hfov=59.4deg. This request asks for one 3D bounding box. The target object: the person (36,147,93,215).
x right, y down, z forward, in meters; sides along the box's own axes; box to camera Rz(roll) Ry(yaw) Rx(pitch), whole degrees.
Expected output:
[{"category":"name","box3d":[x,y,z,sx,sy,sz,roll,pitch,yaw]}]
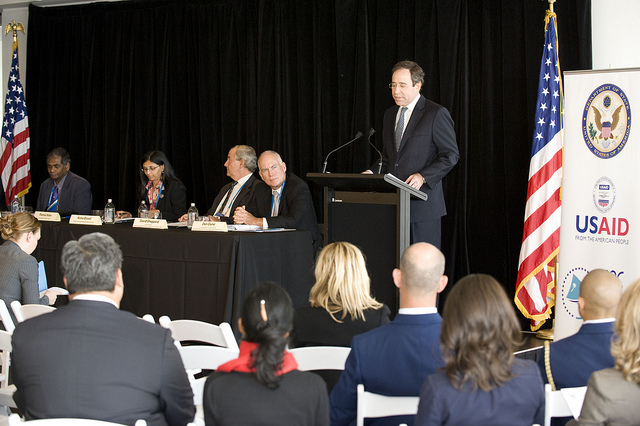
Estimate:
[{"category":"person","box3d":[-2.929,-0.362,6.477,0.758,0.747,0.341,0,1,34]}]

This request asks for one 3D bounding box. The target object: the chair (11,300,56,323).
[{"category":"chair","box3d":[-1.594,0.548,3.091,0.153,0.113,0.317,-1,1,-41]}]

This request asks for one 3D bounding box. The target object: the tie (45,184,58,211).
[{"category":"tie","box3d":[-3.055,-0.166,6.420,0.144,0.232,0.058,0,-5,26]}]

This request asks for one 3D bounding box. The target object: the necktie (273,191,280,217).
[{"category":"necktie","box3d":[-0.408,-0.089,5.200,0.079,0.221,0.040,0,1,25]}]

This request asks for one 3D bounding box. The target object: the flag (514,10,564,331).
[{"category":"flag","box3d":[1.931,-0.349,4.965,0.381,2.809,0.310,0,1,26]}]

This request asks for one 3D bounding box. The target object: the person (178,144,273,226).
[{"category":"person","box3d":[-0.952,-0.300,5.612,0.847,1.105,0.738,4,3,-18]}]

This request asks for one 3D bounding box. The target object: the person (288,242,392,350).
[{"category":"person","box3d":[0.132,0.457,3.108,0.457,0.980,0.304,2,7,16]}]

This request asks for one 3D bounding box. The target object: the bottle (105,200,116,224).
[{"category":"bottle","box3d":[-1.909,-0.009,5.114,0.089,0.216,0.272,0,1,-20]}]

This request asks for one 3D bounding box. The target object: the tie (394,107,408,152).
[{"category":"tie","box3d":[0.625,-0.656,4.420,0.054,0.435,0.030,1,-8,24]}]

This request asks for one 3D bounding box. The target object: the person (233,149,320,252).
[{"category":"person","box3d":[-0.374,-0.104,5.032,0.731,0.915,0.849,0,1,1]}]

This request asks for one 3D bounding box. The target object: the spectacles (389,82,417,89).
[{"category":"spectacles","box3d":[0.624,-0.951,4.214,0.164,0.046,0.056,0,1,15]}]

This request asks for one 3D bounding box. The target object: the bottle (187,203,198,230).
[{"category":"bottle","box3d":[-1.092,0.029,4.809,0.085,0.211,0.199,0,1,-13]}]

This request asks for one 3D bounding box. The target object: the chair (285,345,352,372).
[{"category":"chair","box3d":[0.013,0.658,2.541,0.278,0.144,0.191,0,1,8]}]

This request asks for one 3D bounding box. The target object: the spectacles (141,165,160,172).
[{"category":"spectacles","box3d":[-1.824,-0.462,5.962,0.217,0.044,0.082,0,1,42]}]

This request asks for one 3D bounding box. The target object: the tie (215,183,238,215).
[{"category":"tie","box3d":[-0.948,-0.136,5.725,0.053,0.409,0.062,33,4,-3]}]

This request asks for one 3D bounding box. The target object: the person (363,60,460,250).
[{"category":"person","box3d":[0.758,-0.421,4.496,0.644,1.466,1.868,0,1,13]}]
